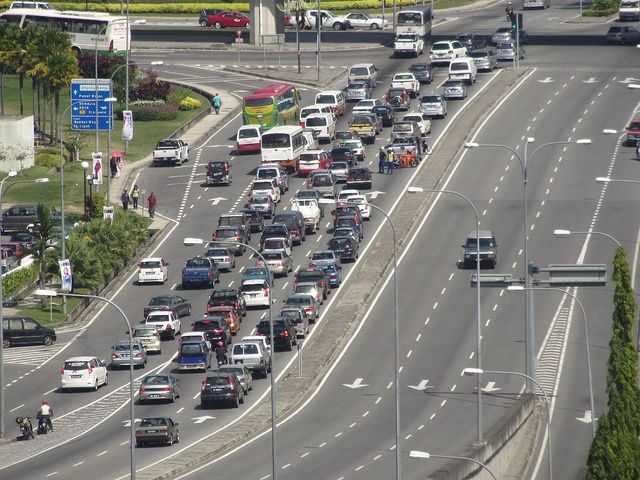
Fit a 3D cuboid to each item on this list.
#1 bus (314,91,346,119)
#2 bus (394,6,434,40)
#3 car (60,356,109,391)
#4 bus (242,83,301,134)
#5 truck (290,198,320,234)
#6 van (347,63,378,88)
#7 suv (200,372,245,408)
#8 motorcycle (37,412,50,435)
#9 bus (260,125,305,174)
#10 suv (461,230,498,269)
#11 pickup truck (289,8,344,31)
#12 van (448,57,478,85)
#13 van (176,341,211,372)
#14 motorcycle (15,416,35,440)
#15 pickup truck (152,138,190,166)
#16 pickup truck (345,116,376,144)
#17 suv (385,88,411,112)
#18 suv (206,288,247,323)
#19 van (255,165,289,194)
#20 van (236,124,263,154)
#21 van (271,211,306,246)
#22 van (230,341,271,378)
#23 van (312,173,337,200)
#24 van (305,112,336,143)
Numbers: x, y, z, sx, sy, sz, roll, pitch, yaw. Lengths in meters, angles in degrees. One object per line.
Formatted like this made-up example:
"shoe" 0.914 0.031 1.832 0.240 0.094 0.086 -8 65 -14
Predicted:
"bus" 1.144 -13.343 202.854 1.635 1.746 3.050 1 18 7
"bus" 9.929 -23.434 222.806 2.300 2.578 4.077 3 20 11
"car" -17.950 9.910 163.002 2.666 2.759 5.505 -2 5 12
"bus" -4.220 -12.552 199.323 3.072 4.356 8.756 -4 9 18
"truck" -1.638 -2.714 181.243 1.847 2.346 3.690 -6 12 -19
"van" 4.464 -16.695 212.189 1.684 1.790 2.846 2 18 14
"suv" -7.246 11.067 158.893 2.433 2.771 2.333 -6 2 2
"motorcycle" -20.254 13.443 156.148 0.554 0.904 1.382 1 8 1
"bus" -3.177 -8.298 192.313 3.134 4.102 6.390 -1 6 10
"suv" 13.165 0.743 174.693 2.606 2.997 5.512 0 5 9
"pickup truck" -0.850 -25.958 246.184 4.274 1.951 2.603 -2 14 4
"van" 14.135 -17.259 209.792 1.627 1.759 3.084 2 23 15
"van" -9.571 8.643 163.662 2.079 2.461 4.260 -2 5 7
"motorcycle" -21.545 13.487 155.932 0.804 1.335 2.084 -5 20 5
"pickup truck" -13.508 -8.555 196.822 1.631 1.593 3.143 1 16 10
"pickup truck" 4.181 -10.717 197.014 1.469 1.834 3.073 1 18 9
"suv" 7.518 -13.940 203.763 1.281 1.460 2.467 1 23 9
"suv" -7.106 4.710 168.800 2.441 2.596 4.895 -2 9 10
"van" -4.046 -5.812 186.760 1.606 1.956 3.303 0 19 8
"van" -6.455 -9.649 195.180 1.466 1.712 3.028 -1 19 4
"van" -2.483 -1.550 180.211 2.166 2.931 5.170 -4 13 10
"van" -5.288 8.890 163.447 2.482 3.120 5.636 -3 3 6
"van" 0.417 -4.914 183.623 1.236 1.530 2.583 0 21 4
"van" 0.193 -10.987 197.710 1.703 1.990 3.213 0 21 10
